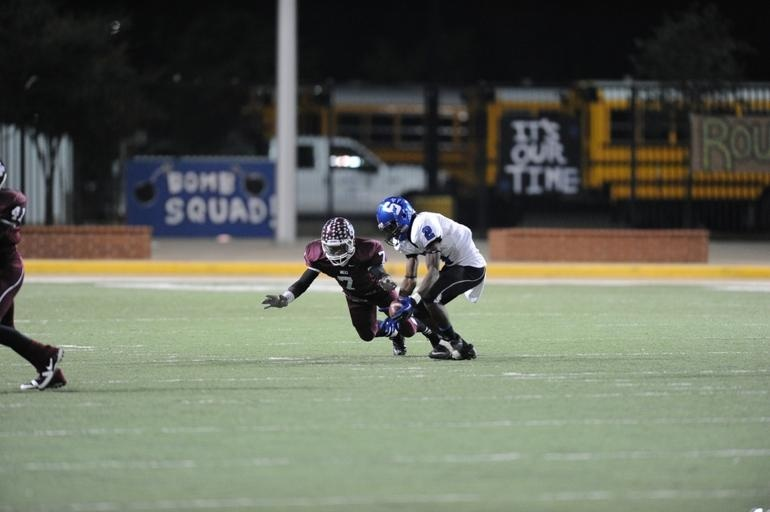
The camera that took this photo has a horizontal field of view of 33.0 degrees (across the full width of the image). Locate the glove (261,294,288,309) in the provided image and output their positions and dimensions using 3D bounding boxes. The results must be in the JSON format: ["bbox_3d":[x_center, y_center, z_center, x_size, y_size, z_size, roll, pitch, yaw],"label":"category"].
[{"bbox_3d":[-1.196,0.507,14.324,0.249,0.174,0.371,2,8,-1],"label":"glove"}]

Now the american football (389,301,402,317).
[{"bbox_3d":[0.119,0.603,14.638,0.114,0.176,0.099,6,9,28],"label":"american football"}]

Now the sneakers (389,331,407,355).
[{"bbox_3d":[0.166,1.046,15.372,0.140,0.250,0.367,-3,-28,-3],"label":"sneakers"}]

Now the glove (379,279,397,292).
[{"bbox_3d":[0.031,0.334,14.611,0.174,0.181,0.417,2,8,-1],"label":"glove"}]

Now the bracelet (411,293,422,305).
[{"bbox_3d":[0.357,0.491,14.714,0.047,0.114,0.089,-13,33,-25],"label":"bracelet"}]

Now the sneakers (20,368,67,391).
[{"bbox_3d":[-3.590,1.298,13.544,0.633,0.274,0.199,3,9,-5],"label":"sneakers"}]

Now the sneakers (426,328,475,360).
[{"bbox_3d":[0.799,1.082,15.069,0.626,0.267,0.228,1,1,7],"label":"sneakers"}]

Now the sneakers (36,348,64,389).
[{"bbox_3d":[-3.462,1.164,13.487,0.289,0.530,0.187,5,28,-7],"label":"sneakers"}]

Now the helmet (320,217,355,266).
[{"bbox_3d":[-0.498,-0.174,14.490,0.402,0.467,0.529,-4,19,5],"label":"helmet"}]
